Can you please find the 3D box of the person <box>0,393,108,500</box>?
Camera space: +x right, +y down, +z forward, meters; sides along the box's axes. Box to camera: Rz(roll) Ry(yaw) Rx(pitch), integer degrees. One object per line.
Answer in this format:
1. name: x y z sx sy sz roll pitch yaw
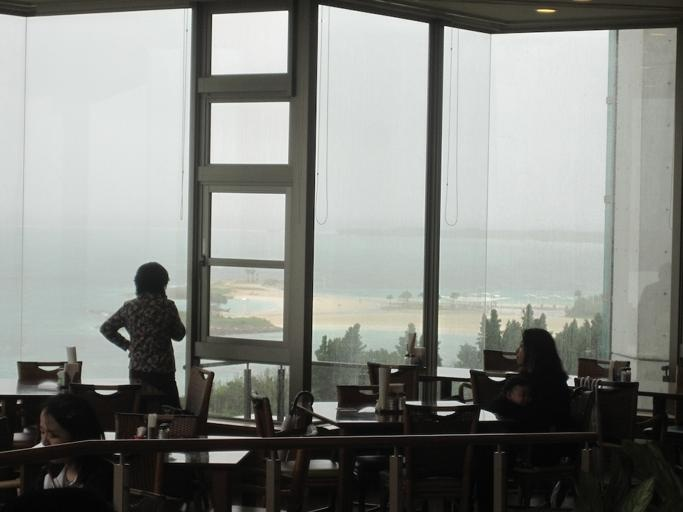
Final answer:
1. person: -1.740 1.164 5.146 0.454 0.893 0.821 10 -16 -42
